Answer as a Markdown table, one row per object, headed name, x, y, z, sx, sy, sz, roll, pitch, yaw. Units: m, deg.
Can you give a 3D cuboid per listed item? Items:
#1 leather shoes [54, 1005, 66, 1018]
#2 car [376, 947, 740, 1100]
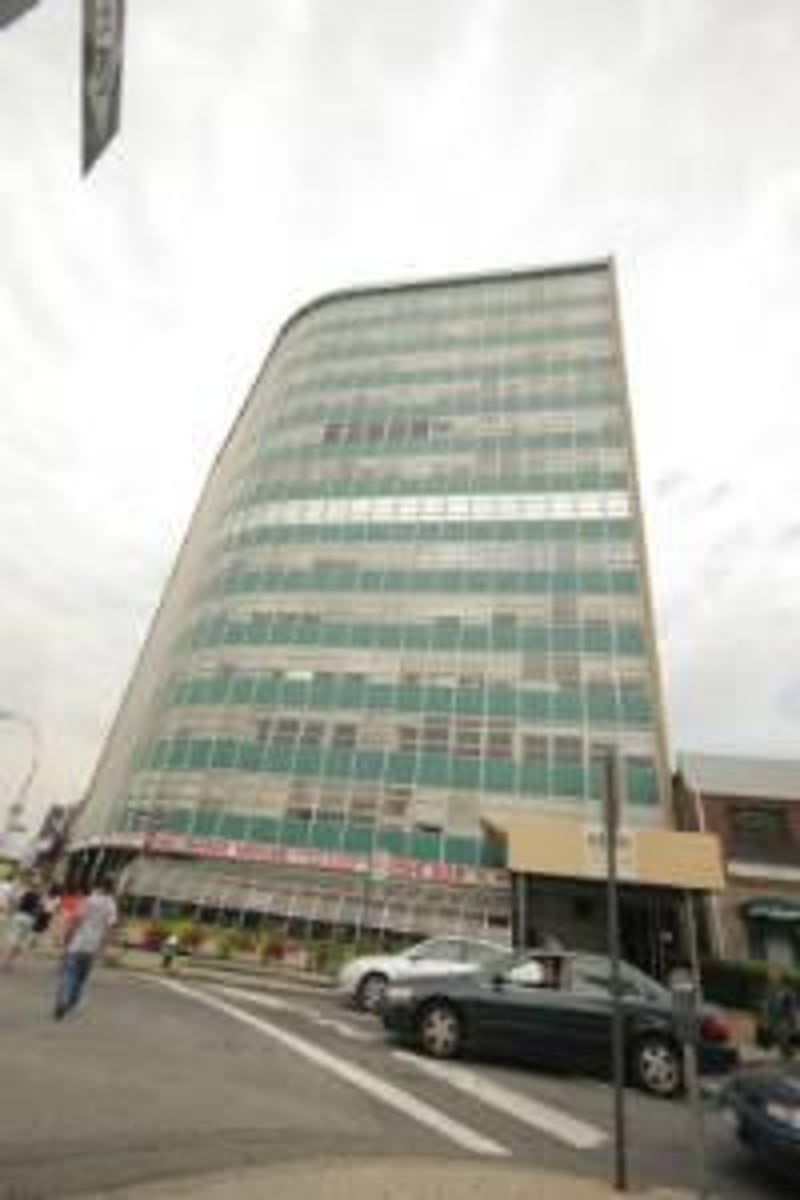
| name | x | y | z | sx | sy | sz | roll | pitch | yaw |
| --- | --- | --- | --- | --- | --- | --- | --- | --- | --- |
| leather shoes | -3.418 | 4.154 | 6.851 | 0.080 | 0.085 | 0.207 | 7 | -26 | -15 |
| car | 1.859 | 4.857 | 7.967 | 3.545 | 1.353 | 1.711 | 13 | -27 | -10 |
